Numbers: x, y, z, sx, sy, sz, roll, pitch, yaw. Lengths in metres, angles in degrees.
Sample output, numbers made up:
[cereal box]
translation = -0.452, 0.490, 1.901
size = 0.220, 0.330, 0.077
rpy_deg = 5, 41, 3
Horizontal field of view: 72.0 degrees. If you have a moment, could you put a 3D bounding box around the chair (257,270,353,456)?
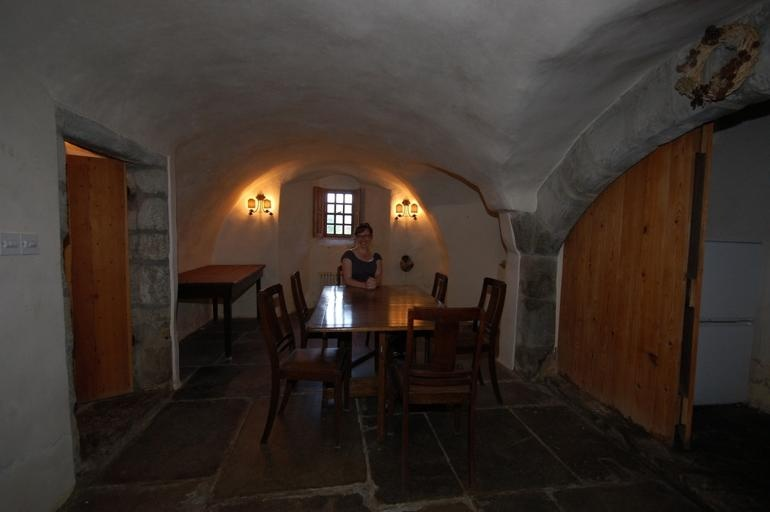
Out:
[chair]
translation = -0.783, 0.867, 5.431
size = 1.188, 2.055, 1.138
rpy_deg = 0, 5, -3

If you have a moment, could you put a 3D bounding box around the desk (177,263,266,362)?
[desk]
translation = -2.142, 0.643, 7.052
size = 1.063, 0.898, 2.248
rpy_deg = 1, -1, -13
